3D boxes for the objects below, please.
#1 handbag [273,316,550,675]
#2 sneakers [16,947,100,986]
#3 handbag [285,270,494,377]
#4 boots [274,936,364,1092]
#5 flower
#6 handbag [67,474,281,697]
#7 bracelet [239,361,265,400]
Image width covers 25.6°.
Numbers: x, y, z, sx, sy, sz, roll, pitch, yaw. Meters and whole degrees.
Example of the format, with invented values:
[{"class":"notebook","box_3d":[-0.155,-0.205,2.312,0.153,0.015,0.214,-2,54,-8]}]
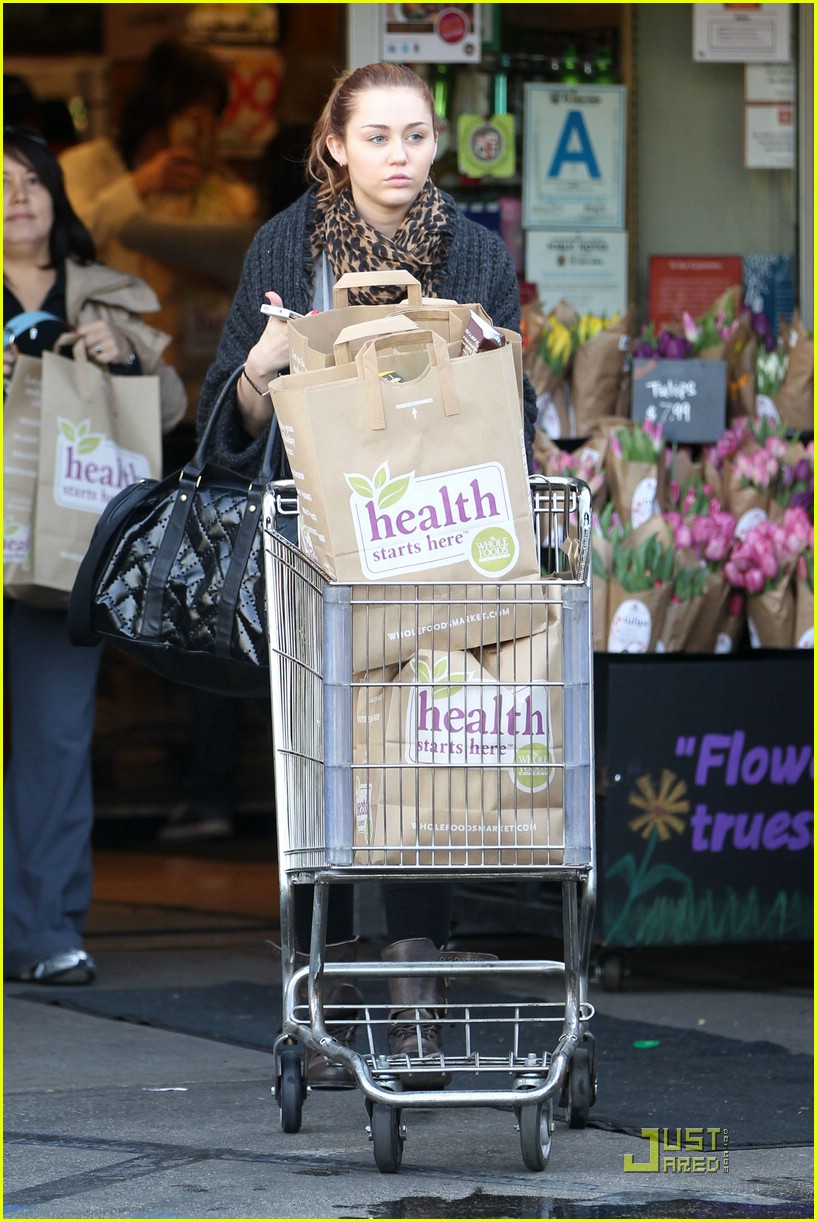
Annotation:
[{"class":"handbag","box_3d":[-0.003,-0.181,2.999,0.451,0.661,0.263,-10,3,0]},{"class":"sneakers","box_3d":[-0.927,0.931,4.770,0.226,0.091,0.107,0,53,13]},{"class":"handbag","box_3d":[-0.056,-0.505,3.161,0.242,0.165,0.253,-9,15,-19]},{"class":"boots","box_3d":[-0.158,0.788,3.532,0.103,0.262,0.255,-6,4,-7]},{"class":"flower","box_3d":[0.825,-0.436,5.245,0.692,0.993,0.391,-2,-25,2]},{"class":"handbag","box_3d":[-0.495,-0.077,3.834,0.432,0.520,0.193,12,0,15]},{"class":"bracelet","box_3d":[-0.305,-0.453,3.545,0.050,0.053,0.088,1,-1,-6]}]
